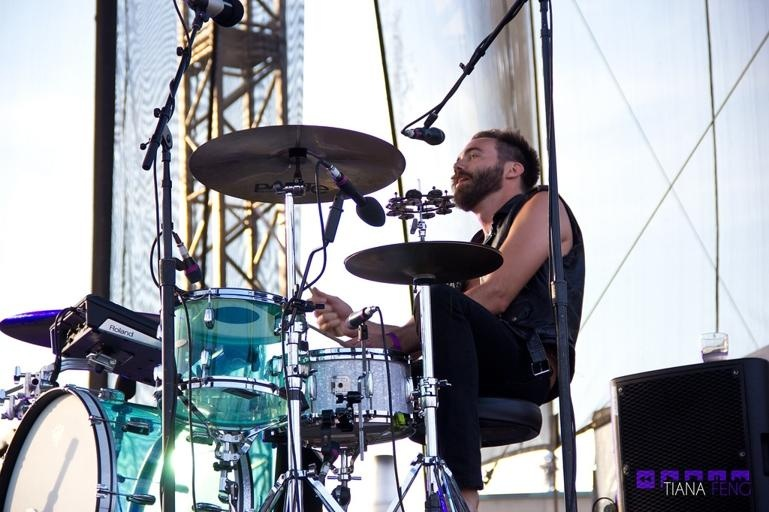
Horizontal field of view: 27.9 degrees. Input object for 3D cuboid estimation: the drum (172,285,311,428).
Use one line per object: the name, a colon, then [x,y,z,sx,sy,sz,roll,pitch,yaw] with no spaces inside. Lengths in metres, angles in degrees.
drum: [-0.857,0.622,9.401,0.764,0.636,0.813,-2,-23,-1]

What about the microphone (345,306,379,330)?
microphone: [-0.128,0.359,8.980,0.078,0.085,0.263,-19,-11,-27]

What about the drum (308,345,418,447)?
drum: [-0.188,0.842,9.160,0.565,0.374,0.588,-1,-21,0]

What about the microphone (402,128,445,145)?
microphone: [0.219,-0.700,9.095,0.187,0.091,0.112,4,-4,-12]

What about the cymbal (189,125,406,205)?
cymbal: [-0.576,-0.587,9.438,0.975,0.547,1.071,-12,-9,43]
